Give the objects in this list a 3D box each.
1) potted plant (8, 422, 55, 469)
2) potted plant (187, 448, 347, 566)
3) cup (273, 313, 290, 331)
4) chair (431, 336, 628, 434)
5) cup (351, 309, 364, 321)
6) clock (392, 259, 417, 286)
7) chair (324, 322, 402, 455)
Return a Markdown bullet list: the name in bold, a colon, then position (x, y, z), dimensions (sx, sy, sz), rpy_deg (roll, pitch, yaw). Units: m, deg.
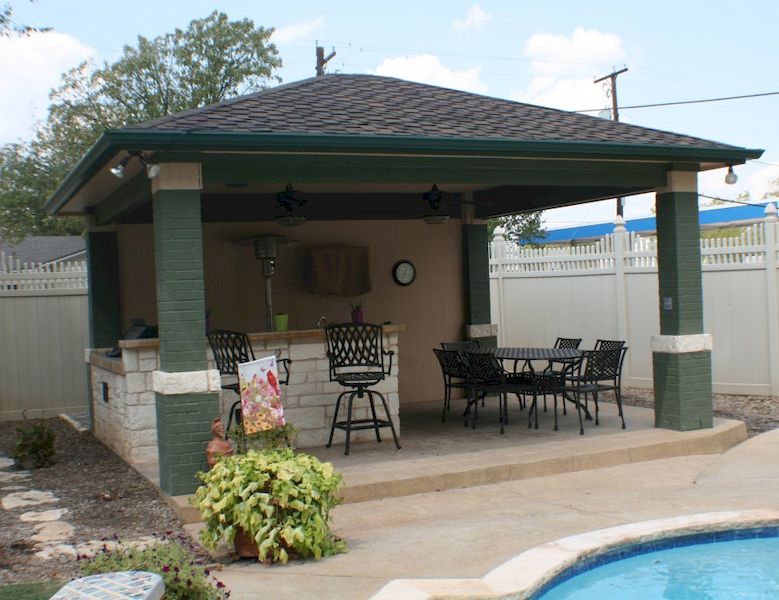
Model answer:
- **potted plant**: position (-4.247, 1.753, 8.057), dimensions (0.457, 0.503, 0.562), rpy_deg (0, 0, 6)
- **potted plant**: position (-0.992, 1.453, 5.143), dimensions (0.992, 0.572, 0.936), rpy_deg (2, -4, -36)
- **cup**: position (-1.319, 0.271, 8.264), dimensions (0.276, 0.188, 0.236), rpy_deg (0, 0, -3)
- **chair**: position (1.827, 1.088, 8.976), dimensions (2.311, 1.053, 2.209), rpy_deg (-1, -2, -5)
- **cup**: position (-0.483, 0.213, 9.468), dimensions (0.198, 0.169, 0.179), rpy_deg (0, -2, 16)
- **clock**: position (0.206, -0.436, 10.799), dimensions (0.503, 0.410, 0.081), rpy_deg (-2, -3, -35)
- **chair**: position (-0.322, 0.963, 7.688), dimensions (0.835, 1.407, 1.208), rpy_deg (-2, -2, -5)
